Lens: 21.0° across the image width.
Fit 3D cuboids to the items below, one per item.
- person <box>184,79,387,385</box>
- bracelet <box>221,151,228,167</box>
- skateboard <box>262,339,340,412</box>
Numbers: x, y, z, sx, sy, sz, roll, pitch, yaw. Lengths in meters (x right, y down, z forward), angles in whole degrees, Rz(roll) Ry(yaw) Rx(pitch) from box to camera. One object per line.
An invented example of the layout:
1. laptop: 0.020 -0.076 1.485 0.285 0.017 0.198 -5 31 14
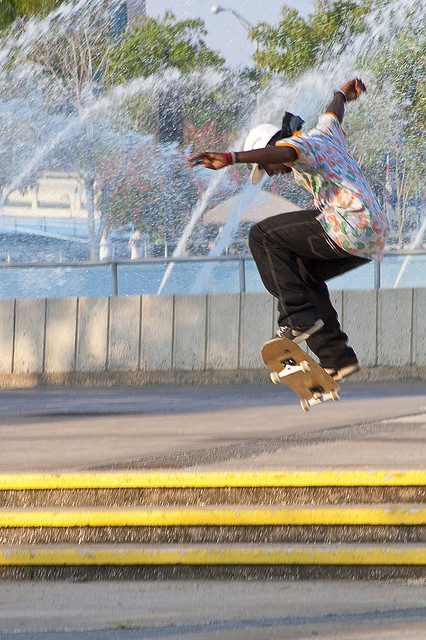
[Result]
1. person: 0.408 -0.319 4.860 0.552 1.241 1.163 7 16 35
2. bracelet: 0.054 -0.610 4.380 0.029 0.035 0.037 -7 -5 9
3. skateboard: 0.373 0.228 4.934 0.176 0.464 0.082 -25 33 37
